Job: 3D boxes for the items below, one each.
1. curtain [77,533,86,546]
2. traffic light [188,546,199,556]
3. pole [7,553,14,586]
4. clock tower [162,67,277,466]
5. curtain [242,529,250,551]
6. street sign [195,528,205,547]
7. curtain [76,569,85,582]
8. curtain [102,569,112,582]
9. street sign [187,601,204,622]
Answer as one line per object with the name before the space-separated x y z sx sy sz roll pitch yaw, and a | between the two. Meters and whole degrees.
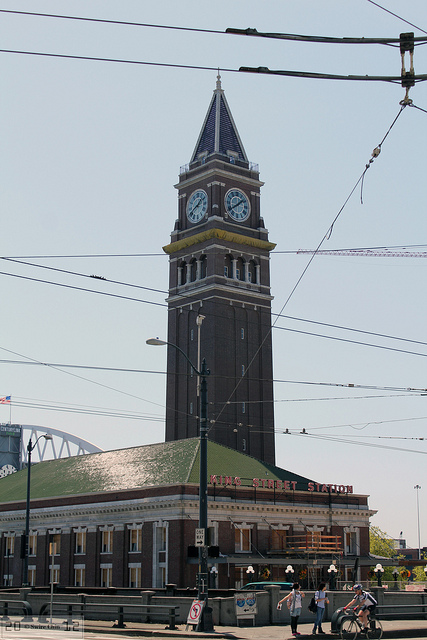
curtain | -7.977 13.188 84.076 0.207 0.741 1.095 -6 -1 -36
traffic light | -0.773 8.773 53.064 0.384 0.382 0.886 -7 -1 -4
pole | -13.262 16.103 90.303 0.166 1.928 0.679 -6 0 5
clock tower | 0.663 -3.181 121.639 11.710 32.341 13.193 0 -6 -1
curtain | 1.834 12.518 79.489 0.213 1.201 0.723 -6 0 37
street sign | -0.527 8.215 52.897 0.353 0.699 0.550 -6 -1 3
curtain | -8.007 15.296 83.550 0.248 0.732 1.217 -6 -1 -30
curtain | -6.198 14.855 81.180 0.258 0.725 1.240 -6 -1 -29
street sign | -0.706 10.924 52.321 0.414 0.733 0.696 -6 -1 -42
